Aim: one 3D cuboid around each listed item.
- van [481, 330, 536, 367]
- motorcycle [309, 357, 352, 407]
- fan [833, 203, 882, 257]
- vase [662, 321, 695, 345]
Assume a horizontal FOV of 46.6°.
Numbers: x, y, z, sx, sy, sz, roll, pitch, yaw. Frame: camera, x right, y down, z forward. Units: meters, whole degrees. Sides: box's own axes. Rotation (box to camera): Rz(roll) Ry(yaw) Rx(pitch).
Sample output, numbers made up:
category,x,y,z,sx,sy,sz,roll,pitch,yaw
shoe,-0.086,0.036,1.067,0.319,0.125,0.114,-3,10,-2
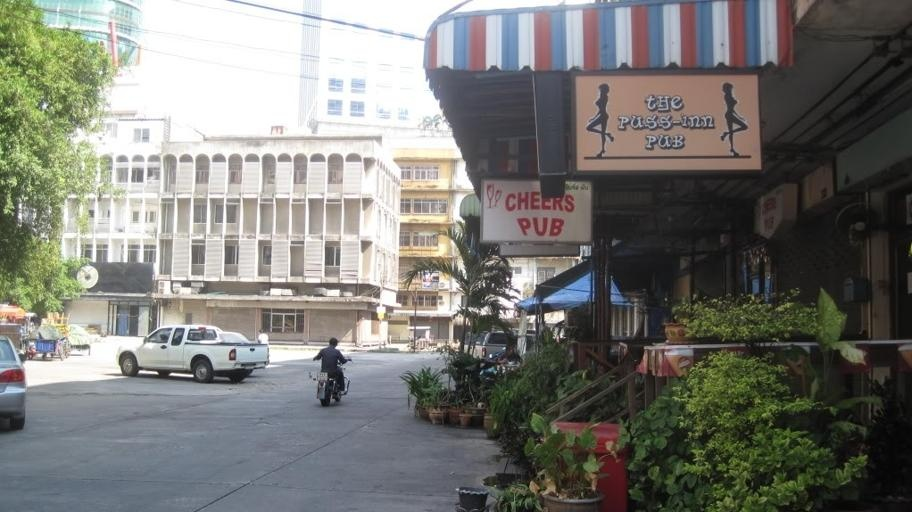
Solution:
category,x,y,z,sx,sy,sz,roll,pitch,yaw
van,1.836,3.950,43.655,1.382,1.569,2.814,4,1,2
motorcycle,-4.125,4.183,36.438,1.133,1.484,2.714,0,7,1
fan,10.678,-0.868,28.308,0.570,1.174,1.218,4,-11,-20
vase,5.190,1.839,24.966,0.505,0.338,0.516,-8,-10,44
